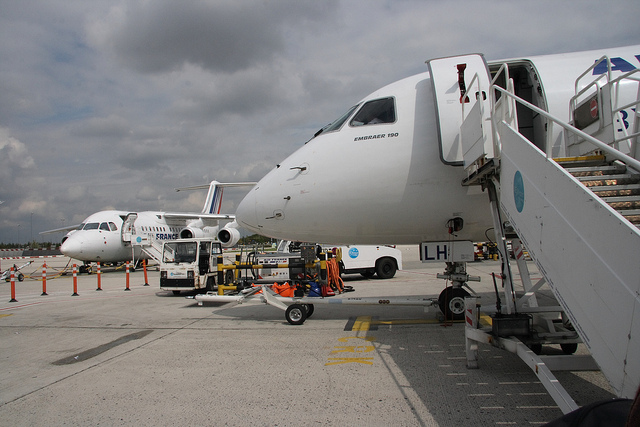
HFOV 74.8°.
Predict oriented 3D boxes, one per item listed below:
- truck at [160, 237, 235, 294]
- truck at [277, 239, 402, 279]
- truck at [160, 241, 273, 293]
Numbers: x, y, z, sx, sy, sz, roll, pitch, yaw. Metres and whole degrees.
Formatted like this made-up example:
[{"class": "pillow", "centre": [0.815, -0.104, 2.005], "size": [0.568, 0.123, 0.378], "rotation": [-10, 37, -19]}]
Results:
[{"class": "truck", "centre": [-4.166, 1.781, 14.666], "size": [1.611, 1.680, 2.768], "rotation": [-2, -4, 15]}, {"class": "truck", "centre": [1.120, 1.878, 16.573], "size": [4.069, 1.652, 3.236], "rotation": [-2, 1, -40]}, {"class": "truck", "centre": [-3.984, 1.793, 14.786], "size": [1.811, 1.698, 3.168], "rotation": [-1, -1, 22]}]
